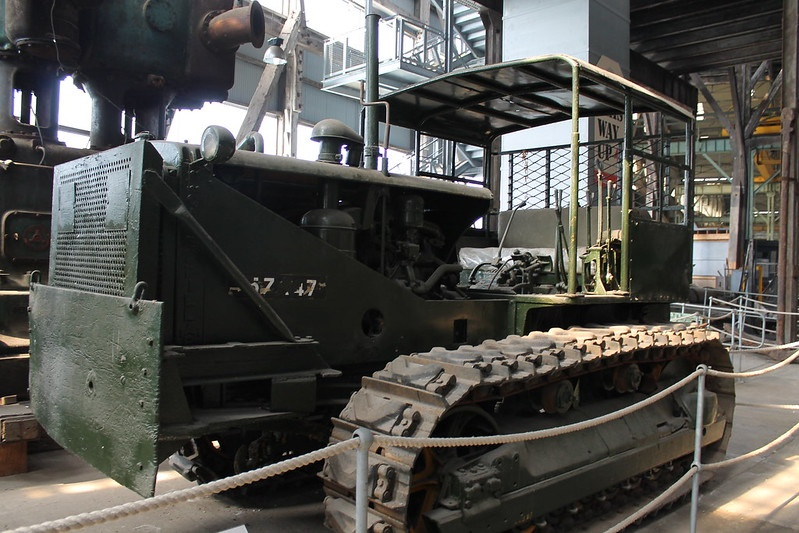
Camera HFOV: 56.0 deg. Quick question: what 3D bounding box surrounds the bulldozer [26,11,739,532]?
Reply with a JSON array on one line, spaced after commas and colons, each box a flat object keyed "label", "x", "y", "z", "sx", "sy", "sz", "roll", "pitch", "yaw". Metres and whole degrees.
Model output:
[{"label": "bulldozer", "x": 0.014, "y": -0.009, "z": 8.274, "sx": 6.454, "sy": 4.112, "sz": 4.641, "roll": 1, "pitch": -2, "yaw": -41}]

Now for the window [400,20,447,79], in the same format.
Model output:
[{"label": "window", "x": 0.506, "y": -6.066, "z": 20.198, "sx": 0.770, "sy": 1.425, "sz": 1.433, "roll": -15, "pitch": 24, "yaw": -38}]

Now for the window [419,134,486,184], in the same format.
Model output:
[{"label": "window", "x": 0.914, "y": -2.487, "z": 17.546, "sx": 2.225, "sy": 0.930, "sz": 2.345, "roll": -1, "pitch": 7, "yaw": 3}]

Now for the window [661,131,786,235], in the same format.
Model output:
[{"label": "window", "x": 15.104, "y": -4.341, "z": 37.037, "sx": 2.519, "sy": 5.050, "sz": 3.704, "roll": 5, "pitch": -1, "yaw": 12}]
